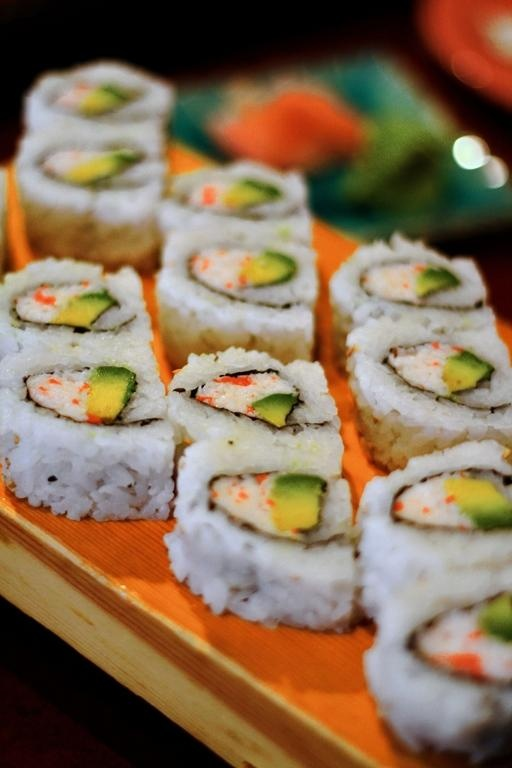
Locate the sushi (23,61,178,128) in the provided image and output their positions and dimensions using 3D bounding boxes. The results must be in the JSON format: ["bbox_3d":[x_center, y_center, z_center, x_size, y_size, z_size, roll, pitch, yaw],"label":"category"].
[{"bbox_3d":[-0.312,-0.575,1.521,0.176,0.046,0.151,-2,33,-4],"label":"sushi"}]

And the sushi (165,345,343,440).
[{"bbox_3d":[-0.011,0.017,1.523,0.266,0.079,0.184,-3,43,-11],"label":"sushi"}]
